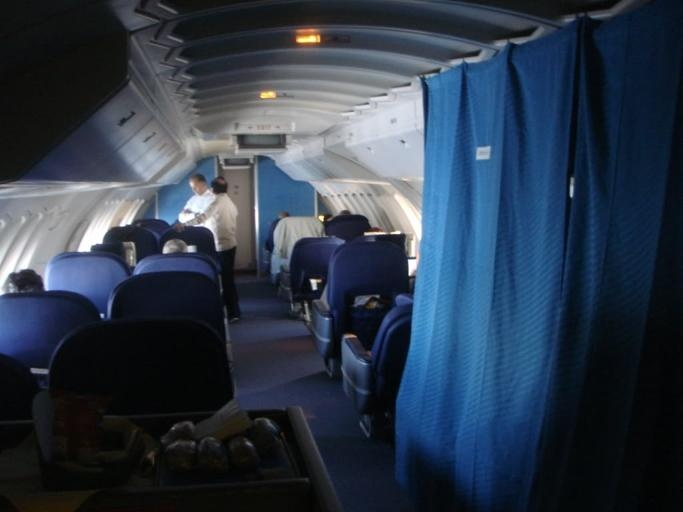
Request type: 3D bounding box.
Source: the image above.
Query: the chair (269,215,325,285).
[{"bbox_3d":[-0.978,-0.210,10.772,1.055,1.474,1.278,1,15,-3],"label":"chair"}]

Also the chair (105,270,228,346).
[{"bbox_3d":[-1.061,0.349,3.564,0.586,0.795,0.668,-1,3,-13],"label":"chair"}]

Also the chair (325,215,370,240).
[{"bbox_3d":[0.153,-0.582,10.602,0.684,0.641,0.592,1,10,-4],"label":"chair"}]

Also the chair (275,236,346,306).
[{"bbox_3d":[-0.446,0.167,7.912,0.787,1.051,0.939,-1,17,-9],"label":"chair"}]

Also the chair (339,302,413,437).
[{"bbox_3d":[0.252,0.923,4.208,0.492,1.198,0.682,2,8,0],"label":"chair"}]
